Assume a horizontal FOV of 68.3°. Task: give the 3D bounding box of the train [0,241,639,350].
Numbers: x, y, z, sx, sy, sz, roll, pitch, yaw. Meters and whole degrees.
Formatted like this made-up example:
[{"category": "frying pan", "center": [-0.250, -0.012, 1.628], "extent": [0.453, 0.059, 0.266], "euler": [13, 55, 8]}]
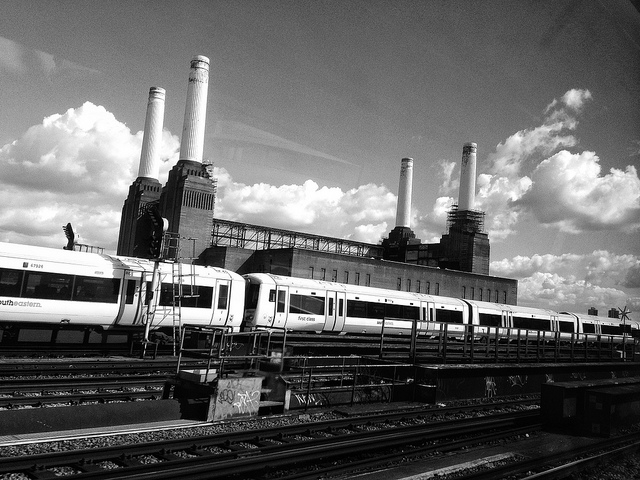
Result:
[{"category": "train", "center": [0.947, 3.603, 24.387], "extent": [29.482, 2.716, 1.560], "euler": [8, -5, -33]}]
